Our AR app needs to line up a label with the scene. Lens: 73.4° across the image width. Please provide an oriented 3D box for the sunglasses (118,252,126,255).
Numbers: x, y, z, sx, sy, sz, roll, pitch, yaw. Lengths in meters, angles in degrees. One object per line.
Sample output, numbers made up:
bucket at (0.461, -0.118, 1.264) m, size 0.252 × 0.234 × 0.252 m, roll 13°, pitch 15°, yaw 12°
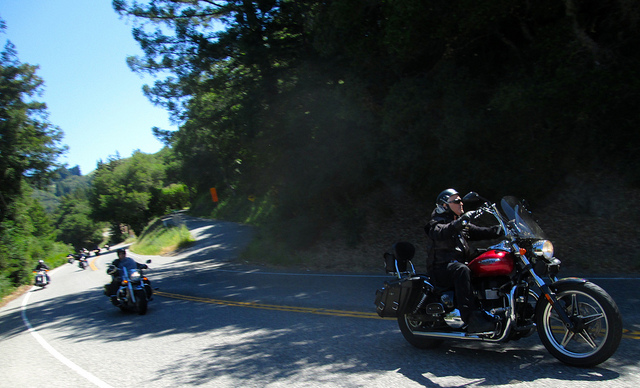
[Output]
sunglasses at (-6.791, 2.006, 14.671) m, size 0.194 × 0.050 × 0.123 m, roll -8°, pitch -2°, yaw 10°

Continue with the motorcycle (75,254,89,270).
motorcycle at (-25.071, 7.116, 45.198) m, size 1.124 × 0.886 × 1.620 m, roll 2°, pitch -11°, yaw -30°

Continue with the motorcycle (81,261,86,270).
motorcycle at (-24.791, 7.284, 44.965) m, size 0.298 × 0.844 × 0.932 m, roll -11°, pitch 4°, yaw -29°

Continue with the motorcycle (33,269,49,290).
motorcycle at (-18.389, 5.522, 28.641) m, size 0.897 × 0.794 × 1.608 m, roll -2°, pitch -2°, yaw -19°

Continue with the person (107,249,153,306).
person at (-6.395, 2.740, 14.771) m, size 1.267 × 1.213 × 2.468 m, roll 4°, pitch -24°, yaw -41°

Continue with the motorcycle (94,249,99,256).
motorcycle at (-35.287, 9.135, 67.862) m, size 0.697 × 0.696 × 0.269 m, roll 0°, pitch 6°, yaw 19°

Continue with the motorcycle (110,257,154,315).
motorcycle at (-6.284, 3.014, 14.240) m, size 1.197 × 1.949 × 1.632 m, roll -10°, pitch 3°, yaw -26°

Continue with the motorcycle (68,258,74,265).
motorcycle at (-34.121, 9.069, 58.845) m, size 1.119 × 0.522 × 0.566 m, roll -17°, pitch -11°, yaw 34°

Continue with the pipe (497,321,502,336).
pipe at (3.316, 2.492, 7.965) m, size 0.079 × 0.395 × 0.059 m, roll 24°, pitch -44°, yaw 2°

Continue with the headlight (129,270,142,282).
headlight at (-6.152, 2.712, 14.278) m, size 0.304 × 0.326 × 0.336 m, roll -2°, pitch -42°, yaw -24°

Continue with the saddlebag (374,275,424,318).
saddlebag at (1.612, 2.107, 9.120) m, size 0.868 × 0.656 × 1.053 m, roll -2°, pitch 1°, yaw -27°
